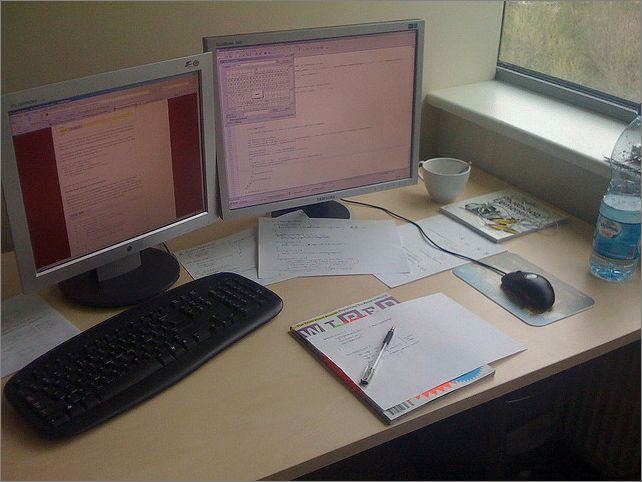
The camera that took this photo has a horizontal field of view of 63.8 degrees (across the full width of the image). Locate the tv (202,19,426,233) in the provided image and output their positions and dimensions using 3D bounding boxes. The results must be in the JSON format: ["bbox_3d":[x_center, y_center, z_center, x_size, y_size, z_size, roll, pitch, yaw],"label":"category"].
[{"bbox_3d":[-0.028,-0.302,1.357,0.528,0.454,0.189,-9,19,-21],"label":"tv"}]

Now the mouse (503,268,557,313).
[{"bbox_3d":[0.480,0.115,1.185,0.066,0.041,0.111,-25,34,-20],"label":"mouse"}]

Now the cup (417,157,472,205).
[{"bbox_3d":[0.380,-0.186,1.613,0.120,0.100,0.164,-8,30,-12],"label":"cup"}]

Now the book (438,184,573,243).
[{"bbox_3d":[0.524,-0.076,1.496,0.207,0.022,0.183,-18,35,-25],"label":"book"}]

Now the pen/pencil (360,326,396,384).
[{"bbox_3d":[0.117,0.236,1.053,0.016,0.011,0.112,37,53,0],"label":"pen/pencil"}]

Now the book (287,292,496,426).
[{"bbox_3d":[0.084,0.272,1.178,0.230,0.013,0.284,-19,39,-27],"label":"book"}]
